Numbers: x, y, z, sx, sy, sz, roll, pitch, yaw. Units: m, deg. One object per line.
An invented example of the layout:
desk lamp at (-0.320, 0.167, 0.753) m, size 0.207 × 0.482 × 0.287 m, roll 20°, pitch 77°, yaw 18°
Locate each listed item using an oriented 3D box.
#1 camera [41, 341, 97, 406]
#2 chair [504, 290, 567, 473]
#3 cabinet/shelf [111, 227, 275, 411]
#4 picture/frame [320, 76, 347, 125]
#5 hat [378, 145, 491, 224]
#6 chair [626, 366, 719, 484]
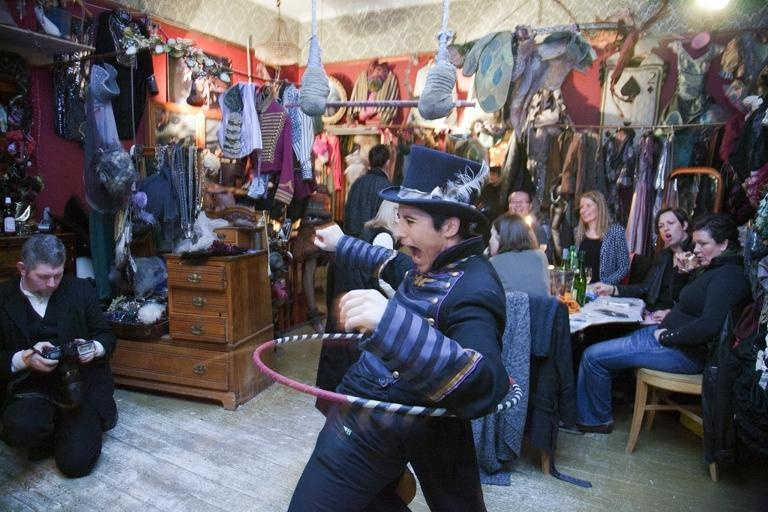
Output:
camera at (-2.256, 0.848, 3.805) m, size 0.175 × 0.433 × 0.392 m, roll 1°, pitch 3°, yaw 37°
chair at (1.189, 0.942, 3.955) m, size 0.342 × 1.302 × 0.226 m, roll 5°, pitch 11°, yaw 19°
cabinet/shelf at (-1.712, 0.572, 4.623) m, size 1.497 × 1.691 × 0.960 m, roll 2°, pitch 1°, yaw 21°
picture/frame at (-0.722, -2.281, 7.696) m, size 0.336 × 0.724 × 0.543 m, roll 1°, pitch 10°, yaw -3°
hat at (0.307, -0.385, 2.808) m, size 0.660 × 0.322 × 0.571 m, roll 15°, pitch 15°, yaw 9°
chair at (2.210, 1.247, 4.380) m, size 0.788 × 0.676 × 0.759 m, roll 1°, pitch 3°, yaw -34°
